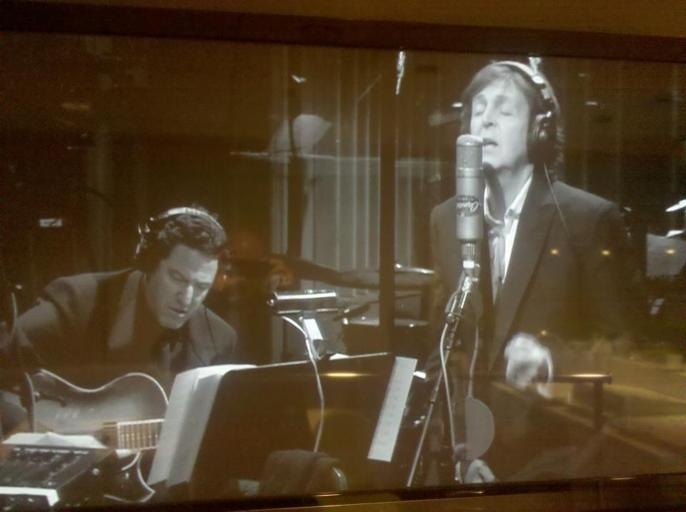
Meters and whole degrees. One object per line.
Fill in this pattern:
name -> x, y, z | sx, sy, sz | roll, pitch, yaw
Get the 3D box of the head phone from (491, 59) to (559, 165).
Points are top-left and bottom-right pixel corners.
head phone -> 0.519, -0.421, 2.208 | 0.293, 0.282, 0.113 | 1, 3, 34

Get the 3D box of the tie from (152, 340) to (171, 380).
tie -> -0.515, 0.303, 2.165 | 0.066, 0.096, 0.020 | -10, -1, 5
